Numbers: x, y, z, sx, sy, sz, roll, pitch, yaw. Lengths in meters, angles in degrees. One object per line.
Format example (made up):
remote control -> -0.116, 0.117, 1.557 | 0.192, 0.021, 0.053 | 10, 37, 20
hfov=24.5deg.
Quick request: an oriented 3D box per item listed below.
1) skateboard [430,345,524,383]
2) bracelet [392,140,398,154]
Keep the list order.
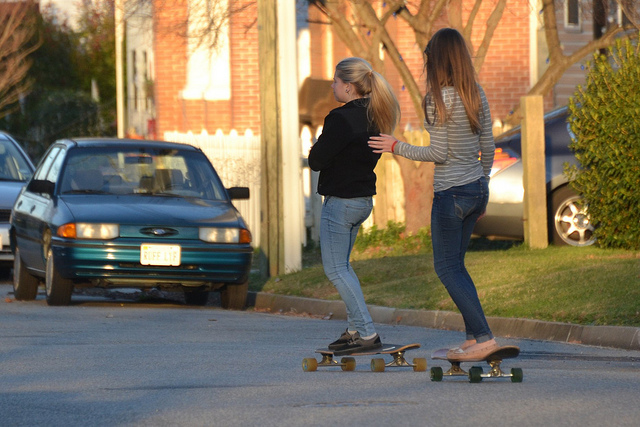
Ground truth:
skateboard -> 1.904, 1.871, 17.930 | 1.120, 0.453, 0.479 | -2, -5, 5
bracelet -> 0.913, -0.800, 18.063 | 0.066, 0.148, 0.073 | 1, -6, -29
